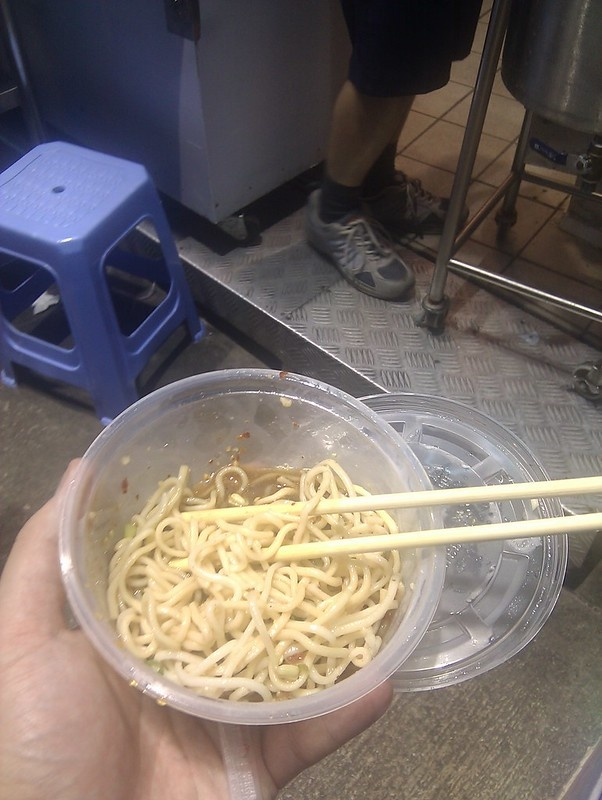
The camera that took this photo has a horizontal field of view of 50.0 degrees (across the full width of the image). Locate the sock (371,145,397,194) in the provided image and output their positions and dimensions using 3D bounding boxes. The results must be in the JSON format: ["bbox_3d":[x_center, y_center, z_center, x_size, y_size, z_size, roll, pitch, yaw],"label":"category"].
[{"bbox_3d":[0.277,-0.766,2.156,0.081,0.170,0.043,-24,55,-25],"label":"sock"}]
